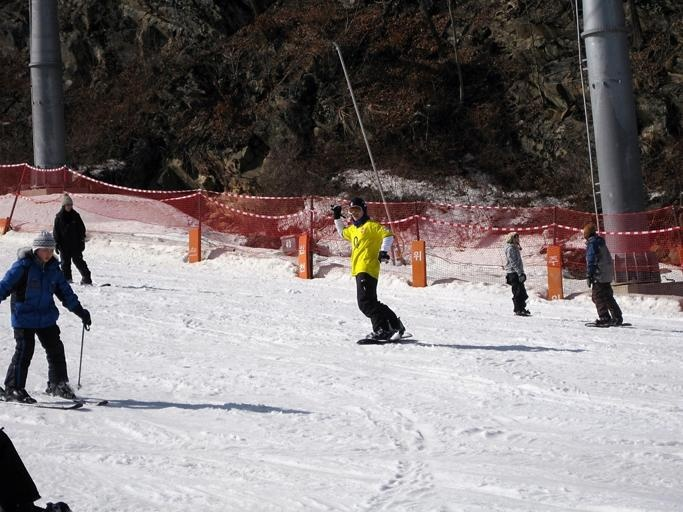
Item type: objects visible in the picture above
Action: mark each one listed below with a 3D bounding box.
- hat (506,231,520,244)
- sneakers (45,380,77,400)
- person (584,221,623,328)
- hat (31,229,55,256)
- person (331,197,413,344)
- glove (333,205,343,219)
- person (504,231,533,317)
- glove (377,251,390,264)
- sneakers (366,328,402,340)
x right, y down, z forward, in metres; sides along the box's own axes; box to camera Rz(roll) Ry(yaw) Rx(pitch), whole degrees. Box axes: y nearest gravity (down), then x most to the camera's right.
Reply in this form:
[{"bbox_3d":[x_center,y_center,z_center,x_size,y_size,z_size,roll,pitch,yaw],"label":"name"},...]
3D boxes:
[{"bbox_3d":[3.569,-0.382,19.601,0.307,0.247,0.265,1,17,13],"label":"hat"},{"bbox_3d":[-3.903,1.874,13.056,0.362,0.137,0.254,11,0,29],"label":"sneakers"},{"bbox_3d":[5.098,0.355,18.385,0.726,1.981,0.912,1,1,13],"label":"person"},{"bbox_3d":[-4.168,-0.197,13.236,0.368,0.329,0.321,20,11,39],"label":"hat"},{"bbox_3d":[0.438,0.225,16.077,1.154,2.451,1.008,1,1,23],"label":"person"},{"bbox_3d":[-0.087,-0.763,16.042,0.094,0.225,0.178,2,34,1],"label":"glove"},{"bbox_3d":[3.677,0.359,19.656,0.541,1.696,1.429,1,1,11],"label":"person"},{"bbox_3d":[0.692,0.009,15.507,0.148,0.176,0.068,-5,-16,15],"label":"glove"},{"bbox_3d":[0.712,1.315,15.994,0.631,0.232,0.197,2,4,-6],"label":"sneakers"}]
